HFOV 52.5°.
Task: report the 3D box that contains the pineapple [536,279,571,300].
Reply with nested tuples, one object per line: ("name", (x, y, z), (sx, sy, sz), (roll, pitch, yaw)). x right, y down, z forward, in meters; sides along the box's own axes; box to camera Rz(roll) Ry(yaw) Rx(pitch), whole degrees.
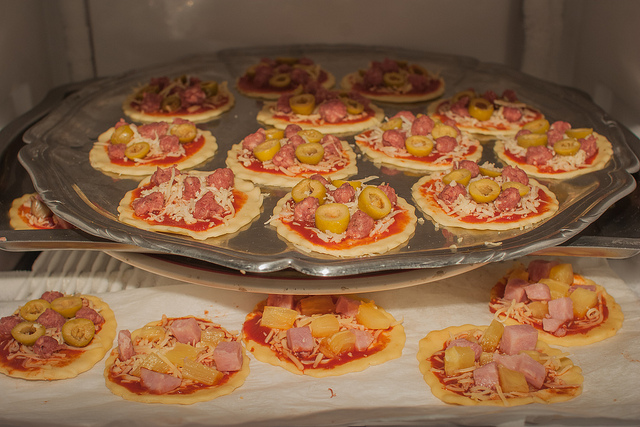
("pineapple", (2.177, 0.703, 6.009), (0.270, 0.192, 0.222), (-6, -10, 16))

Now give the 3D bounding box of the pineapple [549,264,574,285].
("pineapple", (2.268, 0.587, 6.129), (0.212, 0.157, 0.104), (-6, -10, -3))

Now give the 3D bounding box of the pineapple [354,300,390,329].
("pineapple", (0.451, 0.908, 5.714), (0.237, 0.270, 0.101), (-42, -23, -37))

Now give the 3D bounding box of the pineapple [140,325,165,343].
("pineapple", (-1.458, 1.062, 5.678), (0.220, 0.149, 0.107), (-8, -10, 26))

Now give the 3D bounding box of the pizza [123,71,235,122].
("pizza", (-1.619, -1.299, 7.400), (1.275, 0.705, 0.561), (-3, -10, -6))

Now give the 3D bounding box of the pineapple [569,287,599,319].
("pineapple", (2.425, 0.824, 5.920), (0.276, 0.278, 0.109), (-1, -10, -14))

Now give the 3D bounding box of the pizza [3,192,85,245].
("pizza", (-2.585, -0.056, 6.235), (0.746, 0.665, 0.158), (16, -51, -17))

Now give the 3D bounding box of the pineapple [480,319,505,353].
("pineapple", (1.500, 1.081, 5.668), (0.156, 0.275, 0.075), (27, -5, 10))
